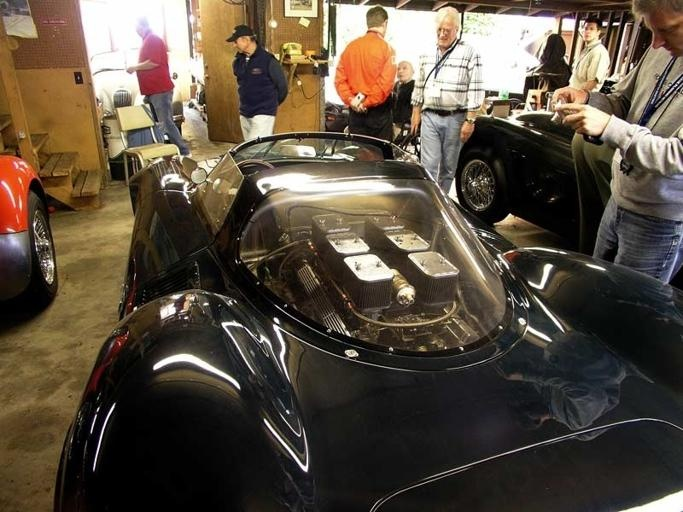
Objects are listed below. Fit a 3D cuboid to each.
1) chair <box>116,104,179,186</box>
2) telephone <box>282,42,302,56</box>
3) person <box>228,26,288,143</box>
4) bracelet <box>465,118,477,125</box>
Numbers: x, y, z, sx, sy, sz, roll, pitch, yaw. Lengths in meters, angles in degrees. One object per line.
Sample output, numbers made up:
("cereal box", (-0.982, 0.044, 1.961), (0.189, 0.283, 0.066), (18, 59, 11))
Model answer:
("chair", (-2.142, -1.198, 5.108), (0.561, 0.932, 0.616), (-14, 24, -30))
("telephone", (-0.672, -2.783, 6.184), (0.211, 0.180, 0.222), (1, 45, -8))
("person", (-1.048, -1.831, 5.605), (0.566, 1.835, 0.564), (16, 33, 25))
("bracelet", (1.159, -1.219, 4.137), (0.055, 0.058, 0.015), (15, 53, -24))
